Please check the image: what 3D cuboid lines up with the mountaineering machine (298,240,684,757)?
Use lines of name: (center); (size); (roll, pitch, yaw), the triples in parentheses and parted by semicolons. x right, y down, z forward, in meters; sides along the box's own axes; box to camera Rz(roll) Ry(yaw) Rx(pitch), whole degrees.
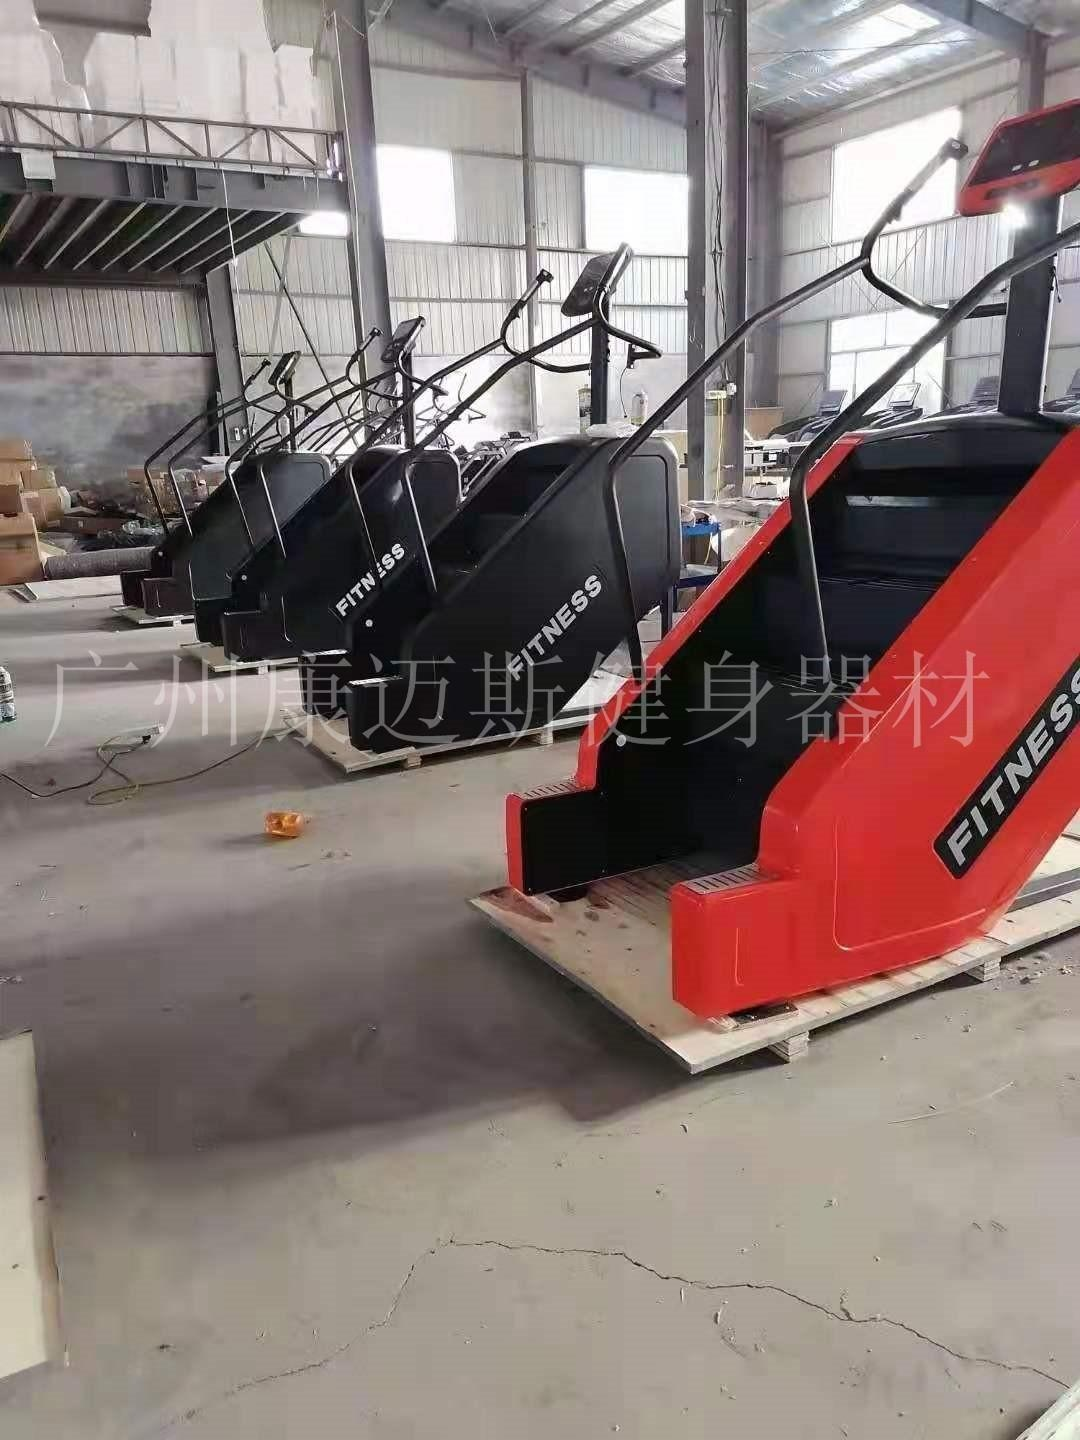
mountaineering machine: (-0.258, -0.716, 3.280); (1.383, 1.522, 0.720); (-17, 25, -38)
